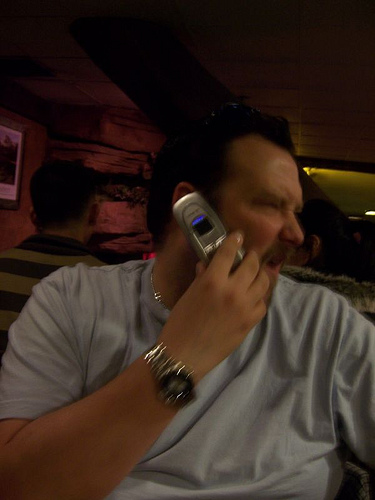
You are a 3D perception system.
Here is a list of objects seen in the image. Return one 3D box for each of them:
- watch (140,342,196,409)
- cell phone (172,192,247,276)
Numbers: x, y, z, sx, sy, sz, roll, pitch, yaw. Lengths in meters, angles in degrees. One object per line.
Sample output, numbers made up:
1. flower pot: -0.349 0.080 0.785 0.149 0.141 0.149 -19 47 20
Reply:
1. watch: -0.026 0.179 0.586 0.069 0.021 0.086 -12 80 8
2. cell phone: 0.039 -0.026 0.727 0.082 0.037 0.155 -37 85 -4
